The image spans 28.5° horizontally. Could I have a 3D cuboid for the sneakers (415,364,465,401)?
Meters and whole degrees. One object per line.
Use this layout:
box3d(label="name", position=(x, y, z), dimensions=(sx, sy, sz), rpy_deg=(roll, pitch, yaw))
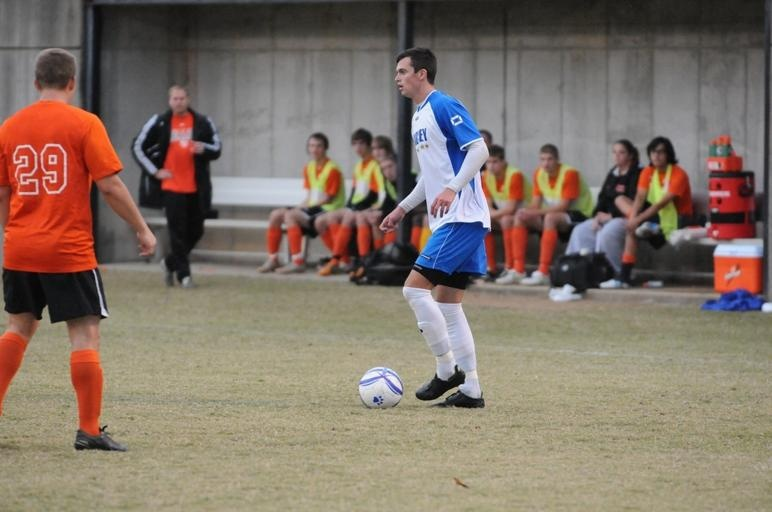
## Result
box3d(label="sneakers", position=(0.366, 0.912, 10.523), dimensions=(0.417, 0.185, 0.158), rpy_deg=(-28, 8, 7))

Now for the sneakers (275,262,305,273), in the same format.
box3d(label="sneakers", position=(-0.810, 0.107, 13.095), dimensions=(0.220, 0.095, 0.075), rpy_deg=(8, 6, -45))

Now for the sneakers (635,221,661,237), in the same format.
box3d(label="sneakers", position=(2.388, -0.244, 13.861), dimensions=(0.272, 0.116, 0.096), rpy_deg=(-10, 10, -31))

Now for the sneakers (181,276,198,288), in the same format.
box3d(label="sneakers", position=(-1.679, 0.228, 13.061), dimensions=(0.115, 0.107, 0.107), rpy_deg=(3, -3, -28))

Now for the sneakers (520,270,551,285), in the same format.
box3d(label="sneakers", position=(1.383, 0.212, 14.153), dimensions=(0.265, 0.129, 0.146), rpy_deg=(2, 14, 6))

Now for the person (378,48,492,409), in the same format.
box3d(label="person", position=(0.356, -0.190, 10.441), dimensions=(0.705, 2.422, 0.775), rpy_deg=(0, 14, 0))

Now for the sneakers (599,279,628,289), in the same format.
box3d(label="sneakers", position=(2.057, 0.266, 13.754), dimensions=(0.210, 0.075, 0.104), rpy_deg=(4, -4, -14))

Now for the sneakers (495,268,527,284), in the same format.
box3d(label="sneakers", position=(1.198, 0.208, 14.318), dimensions=(0.340, 0.130, 0.117), rpy_deg=(0, 2, -7))

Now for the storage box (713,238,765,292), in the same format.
box3d(label="storage box", position=(3.109, 0.092, 13.449), dimensions=(0.468, 0.428, 0.455), rpy_deg=(1, 0, 27))

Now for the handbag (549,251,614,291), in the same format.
box3d(label="handbag", position=(1.772, 0.128, 13.773), dimensions=(0.440, 0.297, 0.381), rpy_deg=(3, 8, 45))

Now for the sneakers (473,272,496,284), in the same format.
box3d(label="sneakers", position=(0.964, 0.206, 14.463), dimensions=(0.302, 0.105, 0.190), rpy_deg=(0, 6, 4))

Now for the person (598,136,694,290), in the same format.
box3d(label="person", position=(2.415, -0.415, 13.931), dimensions=(1.004, 1.300, 0.428), rpy_deg=(-8, 17, -31))

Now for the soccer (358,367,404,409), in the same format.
box3d(label="soccer", position=(-0.030, 0.909, 10.398), dimensions=(0.302, 0.254, 0.217), rpy_deg=(0, 14, -1))

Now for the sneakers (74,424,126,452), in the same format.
box3d(label="sneakers", position=(-1.827, 1.203, 9.768), dimensions=(0.374, 0.164, 0.130), rpy_deg=(1, -2, -10))

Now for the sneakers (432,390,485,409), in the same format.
box3d(label="sneakers", position=(0.498, 0.995, 10.438), dimensions=(0.345, 0.131, 0.122), rpy_deg=(3, -6, 4))
